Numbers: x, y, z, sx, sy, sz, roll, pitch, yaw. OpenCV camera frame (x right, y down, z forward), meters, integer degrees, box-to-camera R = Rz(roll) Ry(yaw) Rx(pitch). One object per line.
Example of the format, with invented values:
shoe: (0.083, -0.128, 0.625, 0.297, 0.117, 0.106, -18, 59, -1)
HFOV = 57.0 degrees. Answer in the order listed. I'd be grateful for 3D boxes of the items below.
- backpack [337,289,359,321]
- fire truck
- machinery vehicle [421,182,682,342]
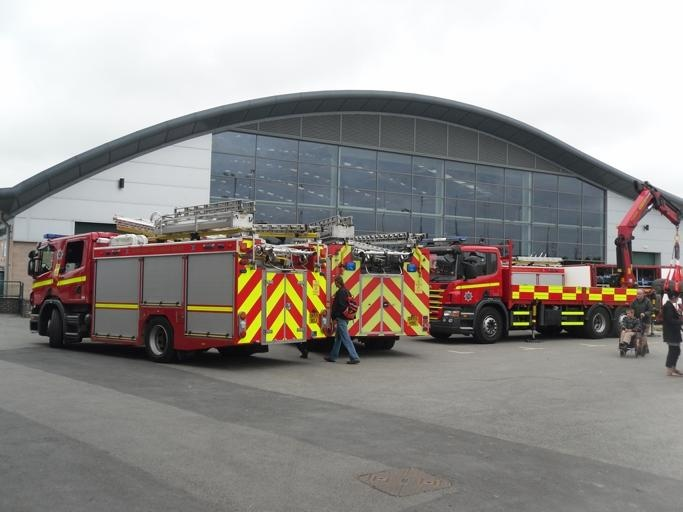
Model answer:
backpack: (0.169, 1.151, 15.027, 0.410, 0.730, 0.577, 3, 12, 7)
fire truck: (-2.983, 0.674, 15.685, 9.974, 3.700, 4.663, 0, -3, 9)
machinery vehicle: (7.609, 0.905, 25.592, 13.531, 6.820, 4.707, 4, -6, -32)
